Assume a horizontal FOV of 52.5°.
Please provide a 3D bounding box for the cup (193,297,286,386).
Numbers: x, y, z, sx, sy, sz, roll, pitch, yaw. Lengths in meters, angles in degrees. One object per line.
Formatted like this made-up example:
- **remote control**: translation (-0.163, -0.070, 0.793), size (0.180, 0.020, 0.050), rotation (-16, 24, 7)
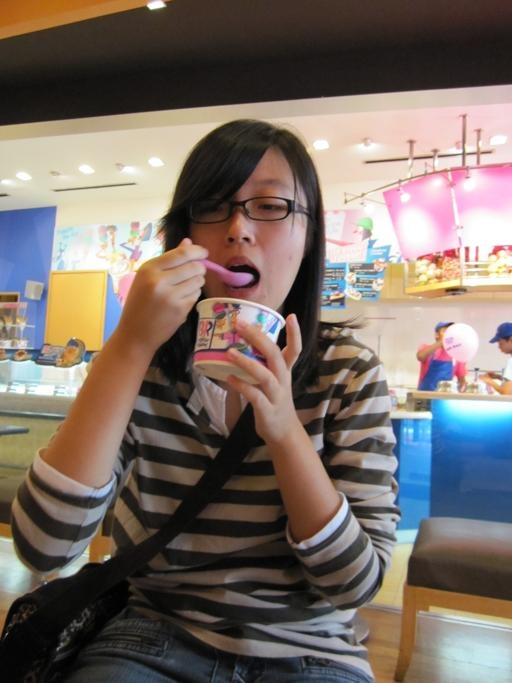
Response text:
- **cup**: translation (-0.024, -0.003, 0.695), size (0.122, 0.110, 0.109), rotation (1, -1, 3)

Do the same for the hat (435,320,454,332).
- **hat**: translation (1.688, -0.137, 4.608), size (0.085, 0.129, 0.133), rotation (-8, 14, -15)

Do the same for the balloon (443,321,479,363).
- **balloon**: translation (1.475, 0.005, 3.732), size (0.214, 0.265, 0.284), rotation (1, -1, 20)
